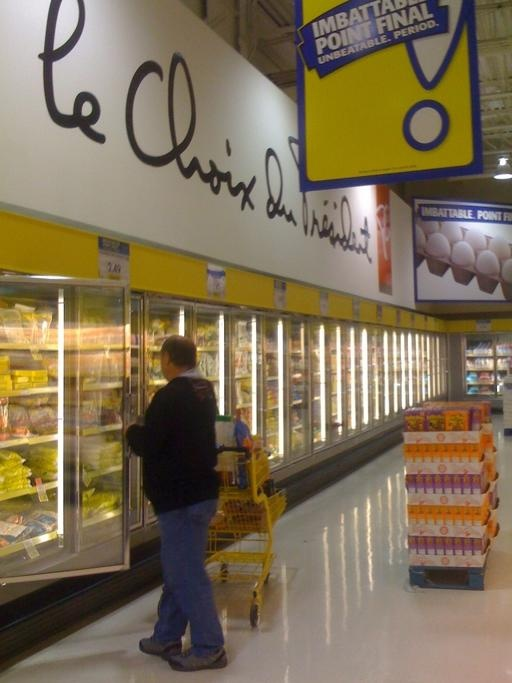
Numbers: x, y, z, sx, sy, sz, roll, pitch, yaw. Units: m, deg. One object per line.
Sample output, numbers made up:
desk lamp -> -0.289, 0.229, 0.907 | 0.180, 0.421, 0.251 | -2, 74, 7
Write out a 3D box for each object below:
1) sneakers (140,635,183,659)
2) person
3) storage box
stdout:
sneakers -> -0.433, 1.427, 2.467 | 0.158, 0.109, 0.062 | 12, -4, 12
person -> -0.344, 0.717, 2.405 | 0.436, 1.500, 0.408 | 0, -6, -3
storage box -> 1.309, 0.972, 3.551 | 0.440, 1.149, 0.987 | -2, -1, 13
